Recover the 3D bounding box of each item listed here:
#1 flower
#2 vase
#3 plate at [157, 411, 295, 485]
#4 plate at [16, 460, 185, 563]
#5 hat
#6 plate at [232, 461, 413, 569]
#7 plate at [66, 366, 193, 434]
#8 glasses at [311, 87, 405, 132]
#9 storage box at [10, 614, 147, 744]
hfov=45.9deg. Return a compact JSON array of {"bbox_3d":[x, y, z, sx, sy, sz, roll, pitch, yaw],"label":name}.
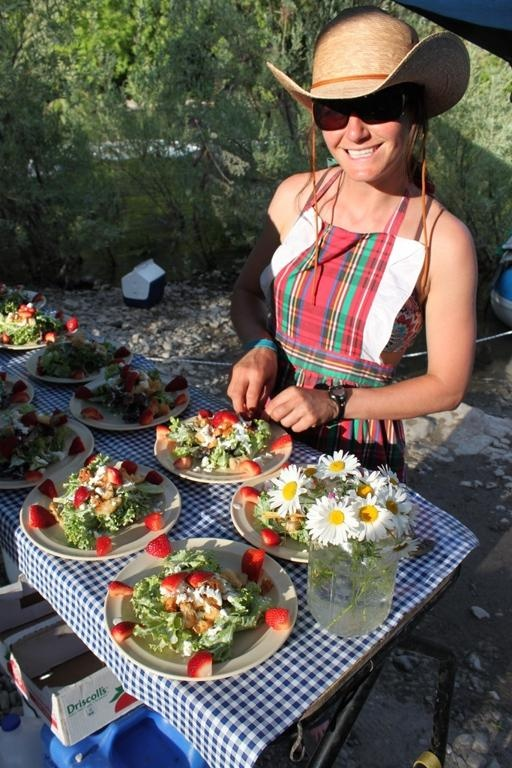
[{"bbox_3d":[0.205,0.372,1.441,0.253,0.413,0.355,-8,26,-14],"label":"flower"},{"bbox_3d":[0.214,0.439,1.412,0.189,0.268,0.173,1,12,19],"label":"vase"},{"bbox_3d":[-0.108,0.227,2.133,0.444,0.088,0.461,5,20,40],"label":"plate"},{"bbox_3d":[-0.469,0.343,1.749,0.394,0.117,0.397,17,30,21],"label":"plate"},{"bbox_3d":[0.458,-1.049,1.969,0.561,0.324,0.439,-1,25,-1],"label":"hat"},{"bbox_3d":[0.159,0.311,1.345,0.288,0.098,0.287,0,-3,-37],"label":"plate"},{"bbox_3d":[-0.506,0.049,2.482,0.343,0.110,0.345,10,25,14],"label":"plate"},{"bbox_3d":[0.317,-0.883,1.936,0.309,0.132,0.192,5,25,11],"label":"glasses"},{"bbox_3d":[-0.629,0.998,2.097,0.419,0.237,0.384,-21,31,-36],"label":"storage box"}]
